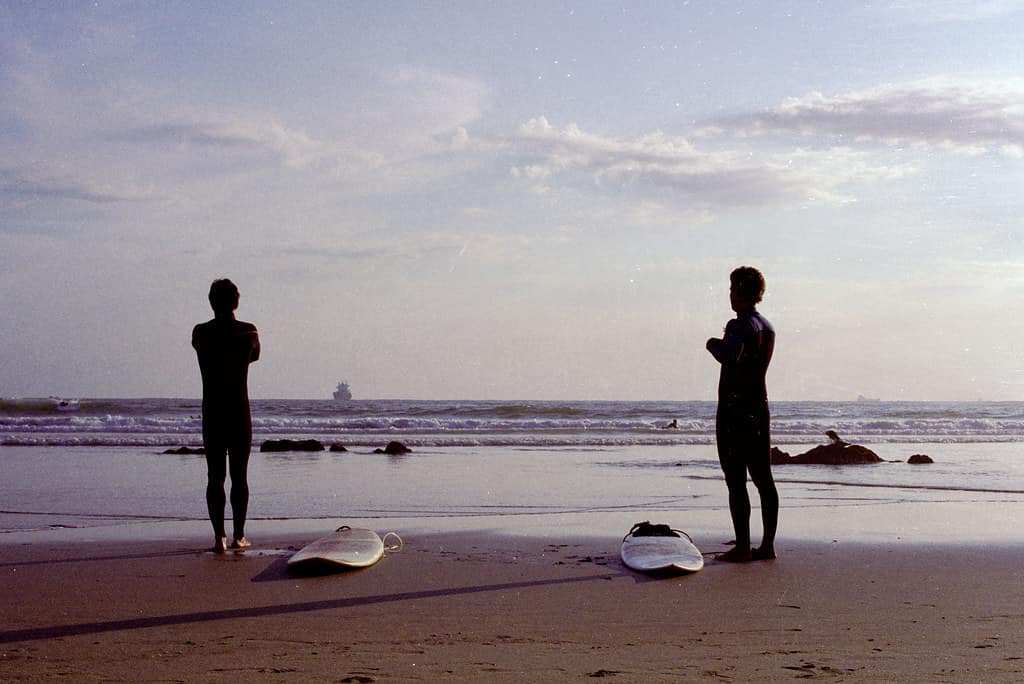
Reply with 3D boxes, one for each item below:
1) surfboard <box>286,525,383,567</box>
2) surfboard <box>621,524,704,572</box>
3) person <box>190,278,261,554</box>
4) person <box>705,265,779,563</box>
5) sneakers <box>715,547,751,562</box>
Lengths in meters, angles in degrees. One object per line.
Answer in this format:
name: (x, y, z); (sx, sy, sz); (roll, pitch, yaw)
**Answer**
surfboard: (-1.591, 1.937, 12.381); (0.704, 0.206, 1.100); (3, 13, 12)
surfboard: (1.393, 1.958, 12.402); (0.740, 0.149, 0.977); (1, 13, 1)
person: (-2.746, 0.734, 12.786); (0.595, 2.647, 0.788); (-3, 14, -12)
person: (2.192, 0.673, 12.486); (0.706, 2.853, 0.947); (2, 14, 9)
sneakers: (2.083, 1.985, 12.447); (0.327, 0.134, 0.211); (2, 13, 7)
